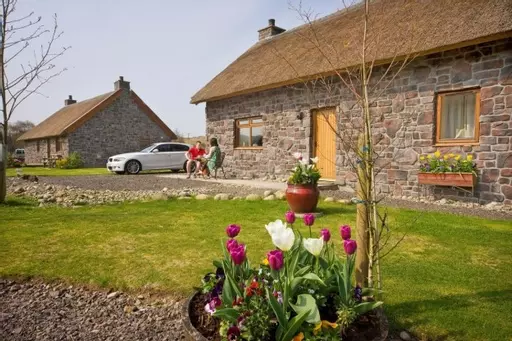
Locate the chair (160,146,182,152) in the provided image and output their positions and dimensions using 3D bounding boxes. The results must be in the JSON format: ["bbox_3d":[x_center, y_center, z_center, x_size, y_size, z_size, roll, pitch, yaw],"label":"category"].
[{"bbox_3d":[-4.399,-1.113,17.838,1.730,0.244,0.398,-3,14,-41],"label":"chair"}]

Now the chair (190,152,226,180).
[{"bbox_3d":[-2.142,-0.270,15.145,1.540,1.235,0.918,0,1,8],"label":"chair"}]

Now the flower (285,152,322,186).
[{"bbox_3d":[1.202,-0.007,8.430,0.980,1.065,1.043,3,7,13],"label":"flower"}]

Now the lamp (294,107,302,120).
[{"bbox_3d":[1.618,-2.130,12.927,0.103,0.468,0.348,0,0,-42],"label":"lamp"}]
